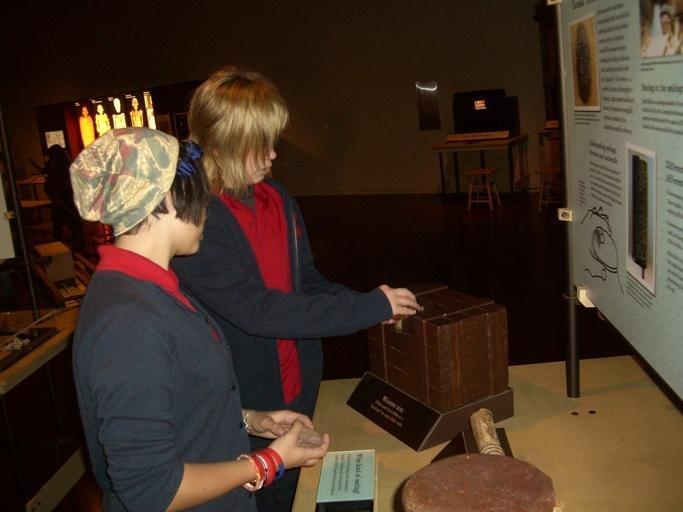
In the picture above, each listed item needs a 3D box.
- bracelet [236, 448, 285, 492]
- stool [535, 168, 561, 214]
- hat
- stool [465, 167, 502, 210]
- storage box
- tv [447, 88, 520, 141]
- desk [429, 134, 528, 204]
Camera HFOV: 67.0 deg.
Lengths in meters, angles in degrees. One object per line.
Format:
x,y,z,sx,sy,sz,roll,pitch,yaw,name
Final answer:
-0.186,0.466,1.170,0.080,0.082,0.103,-16,-8,-28,bracelet
3.721,-1.280,9.304,0.355,0.685,1.105,0,17,21,stool
-0.438,-0.137,1.126,0.203,0.222,0.063,30,1,28,hat
2.709,-1.357,9.859,0.608,0.701,0.862,-1,17,18,stool
0.314,0.290,1.742,0.281,0.299,0.386,-10,13,-29,storage box
2.745,-2.776,10.002,1.100,0.863,0.442,-4,16,9,tv
2.838,-1.608,10.308,1.328,0.937,1.416,-1,15,18,desk
